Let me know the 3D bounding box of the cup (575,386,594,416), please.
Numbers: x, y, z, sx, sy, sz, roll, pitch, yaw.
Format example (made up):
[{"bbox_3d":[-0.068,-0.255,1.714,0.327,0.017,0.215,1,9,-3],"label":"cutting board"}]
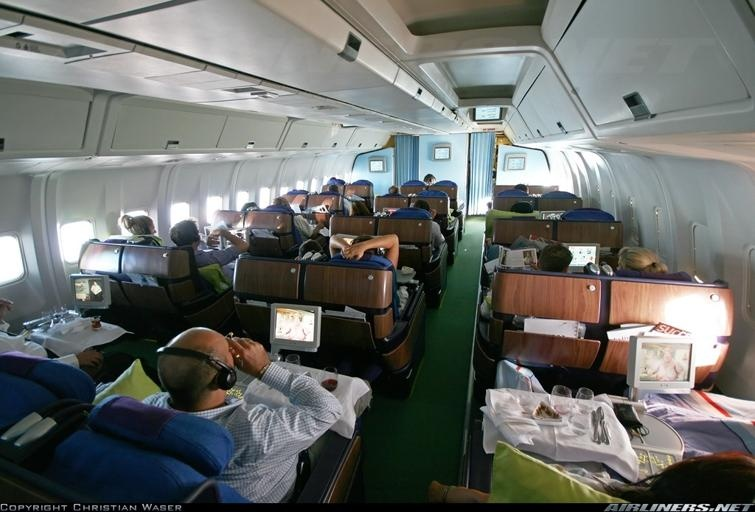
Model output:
[{"bbox_3d":[1.696,1.157,3.782,0.113,0.107,0.114,-1,2,0],"label":"cup"}]

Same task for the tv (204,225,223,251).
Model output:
[{"bbox_3d":[-2.576,-0.274,7.406,0.485,0.471,0.151,3,3,26],"label":"tv"}]

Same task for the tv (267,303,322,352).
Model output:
[{"bbox_3d":[-0.752,0.641,4.151,0.573,0.494,0.301,2,1,10],"label":"tv"}]

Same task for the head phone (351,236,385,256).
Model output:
[{"bbox_3d":[-0.102,-0.125,5.369,0.215,0.161,0.303,4,26,31],"label":"head phone"}]

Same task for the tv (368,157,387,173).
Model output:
[{"bbox_3d":[-0.020,-3.409,17.088,0.658,0.515,0.084,1,5,24],"label":"tv"}]

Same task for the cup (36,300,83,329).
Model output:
[{"bbox_3d":[-3.840,0.700,5.511,0.290,0.120,0.412,-5,9,25],"label":"cup"}]

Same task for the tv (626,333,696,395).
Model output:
[{"bbox_3d":[2.265,0.862,3.689,0.534,0.455,0.279,0,11,4],"label":"tv"}]

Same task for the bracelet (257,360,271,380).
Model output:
[{"bbox_3d":[-0.864,0.866,3.499,0.114,0.080,0.111,-49,8,-36],"label":"bracelet"}]

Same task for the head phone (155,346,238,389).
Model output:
[{"bbox_3d":[-1.225,0.780,3.228,0.490,0.148,0.408,21,-9,-3],"label":"head phone"}]

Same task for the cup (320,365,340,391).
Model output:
[{"bbox_3d":[-0.399,1.038,3.916,0.146,0.180,0.139,0,18,0],"label":"cup"}]

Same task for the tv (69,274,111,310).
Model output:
[{"bbox_3d":[-3.300,0.400,5.296,0.493,0.442,0.272,1,7,8],"label":"tv"}]

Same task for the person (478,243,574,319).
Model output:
[{"bbox_3d":[1.543,0.274,4.889,0.822,0.839,1.218,2,5,13],"label":"person"}]

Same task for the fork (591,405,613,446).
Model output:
[{"bbox_3d":[1.666,1.276,3.432,0.096,0.029,0.291,4,26,16],"label":"fork"}]

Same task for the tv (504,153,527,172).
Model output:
[{"bbox_3d":[4.512,-3.084,15.051,0.612,0.511,0.083,6,24,21],"label":"tv"}]

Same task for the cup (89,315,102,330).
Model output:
[{"bbox_3d":[-3.099,0.732,5.097,0.110,0.122,0.139,5,8,34],"label":"cup"}]

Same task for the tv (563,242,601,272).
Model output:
[{"bbox_3d":[2.375,0.018,5.391,0.358,0.289,0.188,2,2,11],"label":"tv"}]

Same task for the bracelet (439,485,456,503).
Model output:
[{"bbox_3d":[0.478,1.658,3.206,0.064,0.084,0.087,12,-1,-18],"label":"bracelet"}]
